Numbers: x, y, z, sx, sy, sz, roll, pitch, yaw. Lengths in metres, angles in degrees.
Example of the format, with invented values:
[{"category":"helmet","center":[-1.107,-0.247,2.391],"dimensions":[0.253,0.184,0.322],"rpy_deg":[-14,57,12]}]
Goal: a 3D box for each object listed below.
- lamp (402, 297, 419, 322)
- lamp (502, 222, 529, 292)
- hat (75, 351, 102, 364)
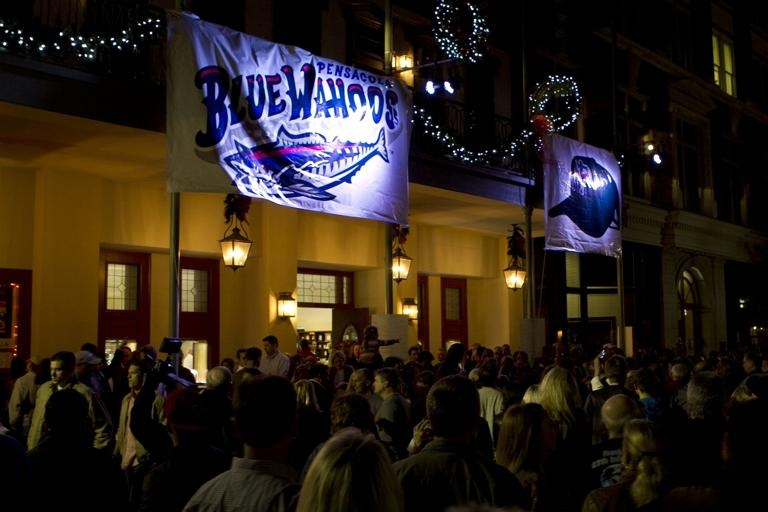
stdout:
[{"category":"lamp","center":[0.799,1.464,20.827],"dimensions":[0.520,0.806,0.586],"rpy_deg":[-3,-3,29]},{"category":"lamp","center":[3.671,0.063,21.445],"dimensions":[0.553,1.915,1.640],"rpy_deg":[0,-10,11]},{"category":"hat","center":[-4.284,1.474,11.143],"dimensions":[0.300,0.154,0.210],"rpy_deg":[3,2,-17]}]
